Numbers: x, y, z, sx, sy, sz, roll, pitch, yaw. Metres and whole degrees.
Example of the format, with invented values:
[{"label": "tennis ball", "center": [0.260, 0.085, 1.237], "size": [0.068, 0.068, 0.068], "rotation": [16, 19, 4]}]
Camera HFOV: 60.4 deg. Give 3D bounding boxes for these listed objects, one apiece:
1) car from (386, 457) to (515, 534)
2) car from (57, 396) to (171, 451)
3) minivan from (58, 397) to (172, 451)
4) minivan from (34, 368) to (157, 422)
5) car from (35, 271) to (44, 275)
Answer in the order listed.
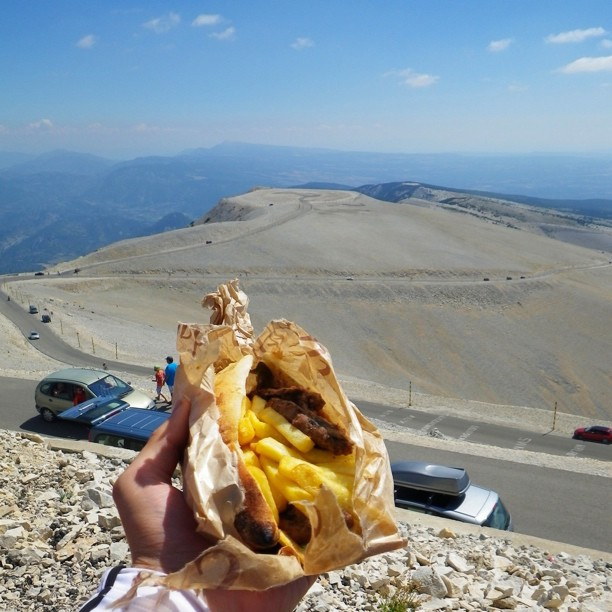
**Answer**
[{"label": "car", "center": [2.362, 3.309, 8.847], "size": [1.960, 0.873, 1.266], "rotation": [8, 15, 31]}, {"label": "car", "center": [-3.345, 2.395, 10.247], "size": [2.230, 0.562, 1.051], "rotation": [8, 23, 15]}, {"label": "minivan", "center": [-3.402, 2.415, 10.296], "size": [2.498, 0.606, 1.196], "rotation": [9, 19, 10]}, {"label": "minivan", "center": [-5.329, 2.330, 13.566], "size": [3.297, 0.959, 1.379], "rotation": [2, 19, 17]}, {"label": "car", "center": [-40.579, -5.048, 80.032], "size": [0.811, 0.701, 2.236], "rotation": [1, -2, -32]}]
